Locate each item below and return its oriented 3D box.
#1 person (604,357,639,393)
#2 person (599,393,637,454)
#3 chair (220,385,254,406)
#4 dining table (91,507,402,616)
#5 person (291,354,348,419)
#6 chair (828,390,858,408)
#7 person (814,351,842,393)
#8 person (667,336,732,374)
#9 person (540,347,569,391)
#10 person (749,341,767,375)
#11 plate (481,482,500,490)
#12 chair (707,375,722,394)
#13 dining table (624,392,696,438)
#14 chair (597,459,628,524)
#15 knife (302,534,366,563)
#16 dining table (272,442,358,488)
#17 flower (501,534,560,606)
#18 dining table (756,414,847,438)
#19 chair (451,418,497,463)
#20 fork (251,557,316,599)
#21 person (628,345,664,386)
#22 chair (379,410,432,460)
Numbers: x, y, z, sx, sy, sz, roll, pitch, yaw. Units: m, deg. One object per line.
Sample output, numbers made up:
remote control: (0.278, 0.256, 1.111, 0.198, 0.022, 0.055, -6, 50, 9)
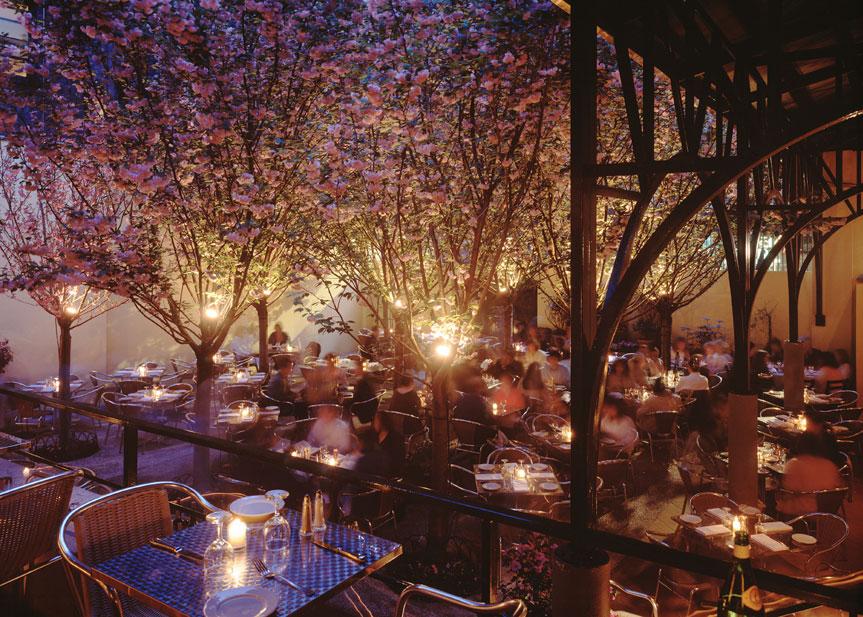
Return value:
person: (3.782, 1.338, 13.228, 0.559, 0.656, 0.924, 1, -1, 18)
person: (2.783, 1.733, 9.906, 0.488, 0.836, 0.494, 1, 0, 18)
chair: (-3.809, 1.692, 13.080, 0.451, 0.214, 0.435, -3, -5, 13)
dining table: (-1.342, 1.876, 4.836, 2.021, 0.540, 0.926, 1, -1, 7)
person: (-2.104, 1.472, 12.384, 0.989, 1.233, 0.483, 3, 3, -6)
chair: (7.896, 1.740, 12.795, 0.365, 0.484, 0.375, 2, -3, -39)
person: (8.423, 1.386, 14.081, 0.518, 0.872, 1.519, 1, -1, 31)
person: (6.360, 1.122, 15.548, 1.358, 0.698, 1.312, -3, 7, -20)
person: (2.454, 1.253, 13.323, 0.619, 0.848, 0.524, -3, 11, 12)
person: (7.762, 1.179, 15.801, 0.368, 0.439, 1.477, 13, 6, 17)
plate: (0.729, 2.175, 8.069, 0.230, 0.084, 0.169, 1, -1, 1)
chair: (5.956, 1.557, 14.004, 0.383, 0.258, 0.380, 4, 21, 13)
dining table: (3.934, 1.732, 11.505, 0.770, 1.174, 0.854, -1, 11, -1)
chair: (2.457, 2.468, 9.055, 0.381, 0.838, 1.200, 1, -1, 15)
knife: (-0.714, 1.800, 4.961, 0.505, 0.043, 0.154, 10, 18, 35)
dining table: (-1.512, 1.957, 8.755, 1.042, 0.440, 1.819, 1, -1, -13)
flower: (1.030, 2.815, 7.181, 0.538, 0.738, 1.213, 1, -1, 6)
dining table: (5.620, 1.842, 10.571, 1.077, 0.247, 1.020, 2, -1, 44)
chair: (0.664, 2.040, 10.509, 0.693, 0.743, 0.636, 2, 3, -27)
fork: (-1.049, 1.918, 4.694, 0.347, 0.051, 0.062, 18, 22, 34)
person: (4.607, 1.247, 14.264, 0.566, 0.764, 0.479, -8, -27, -43)
chair: (-0.396, 1.885, 9.729, 0.926, 1.008, 0.789, 1, 2, -6)
